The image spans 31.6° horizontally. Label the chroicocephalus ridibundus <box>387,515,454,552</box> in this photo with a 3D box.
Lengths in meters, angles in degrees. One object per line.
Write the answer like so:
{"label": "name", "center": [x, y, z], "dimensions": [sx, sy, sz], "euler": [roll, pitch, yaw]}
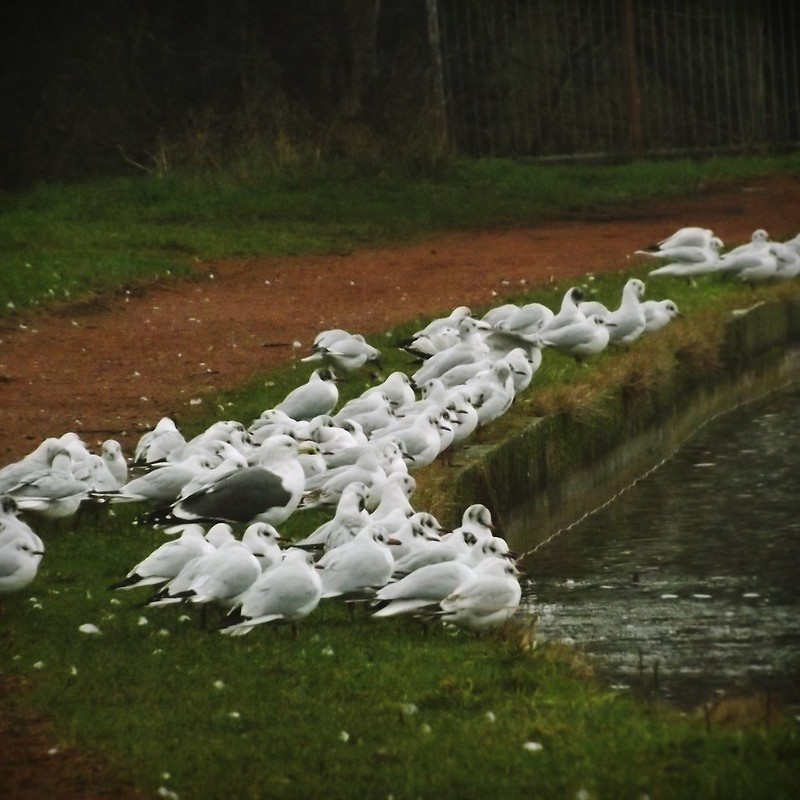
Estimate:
{"label": "chroicocephalus ridibundus", "center": [0.154, 0.889, 9.570], "dimensions": [0.413, 0.201, 0.194], "euler": [1, -7, -2]}

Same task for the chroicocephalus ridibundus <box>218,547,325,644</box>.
{"label": "chroicocephalus ridibundus", "center": [-0.833, 1.180, 8.815], "dimensions": [0.466, 0.477, 0.806], "euler": [17, 14, 37]}

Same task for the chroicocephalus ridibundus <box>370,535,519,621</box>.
{"label": "chroicocephalus ridibundus", "center": [0.292, 1.161, 9.073], "dimensions": [1.055, 0.508, 0.560], "euler": [-3, 12, -1]}

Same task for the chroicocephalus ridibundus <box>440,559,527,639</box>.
{"label": "chroicocephalus ridibundus", "center": [0.471, 1.242, 8.981], "dimensions": [0.647, 0.379, 0.315], "euler": [-2, 6, -18]}

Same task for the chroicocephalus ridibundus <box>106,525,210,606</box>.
{"label": "chroicocephalus ridibundus", "center": [-1.555, 0.998, 9.227], "dimensions": [0.294, 0.407, 0.798], "euler": [29, 24, 29]}

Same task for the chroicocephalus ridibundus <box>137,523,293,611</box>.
{"label": "chroicocephalus ridibundus", "center": [-1.209, 1.097, 9.021], "dimensions": [1.068, 0.528, 0.417], "euler": [-7, 6, -42]}
